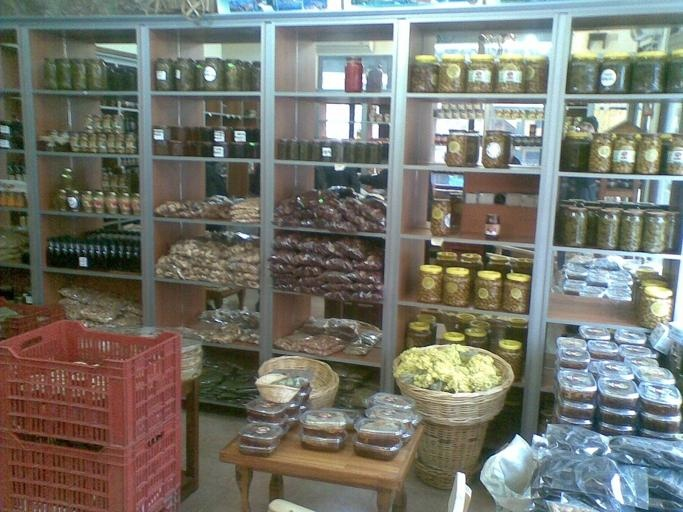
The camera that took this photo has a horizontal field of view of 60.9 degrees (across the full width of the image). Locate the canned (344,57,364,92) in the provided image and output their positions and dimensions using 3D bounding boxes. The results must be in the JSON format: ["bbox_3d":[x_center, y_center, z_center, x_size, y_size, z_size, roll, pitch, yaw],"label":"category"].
[{"bbox_3d":[0.096,-1.305,4.199,0.130,0.250,0.077,3,11,0],"label":"canned"}]

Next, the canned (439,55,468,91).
[{"bbox_3d":[0.755,-1.234,3.964,0.189,0.254,0.090,4,11,7],"label":"canned"}]

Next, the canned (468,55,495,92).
[{"bbox_3d":[0.940,-1.218,3.910,0.180,0.248,0.069,4,11,6],"label":"canned"}]

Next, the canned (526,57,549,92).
[{"bbox_3d":[1.286,-1.190,3.840,0.139,0.237,0.047,3,11,-1],"label":"canned"}]

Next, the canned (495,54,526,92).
[{"bbox_3d":[1.129,-1.204,3.874,0.199,0.243,0.079,4,11,10],"label":"canned"}]

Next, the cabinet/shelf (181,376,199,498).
[{"bbox_3d":[-0.958,1.153,3.694,0.106,0.766,0.190,1,11,-12],"label":"cabinet/shelf"}]

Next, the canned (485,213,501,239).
[{"bbox_3d":[1.068,-0.201,4.093,0.100,0.167,0.108,5,11,13],"label":"canned"}]

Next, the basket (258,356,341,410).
[{"bbox_3d":[-0.207,0.801,3.794,0.509,0.141,0.463,3,6,8],"label":"basket"}]
